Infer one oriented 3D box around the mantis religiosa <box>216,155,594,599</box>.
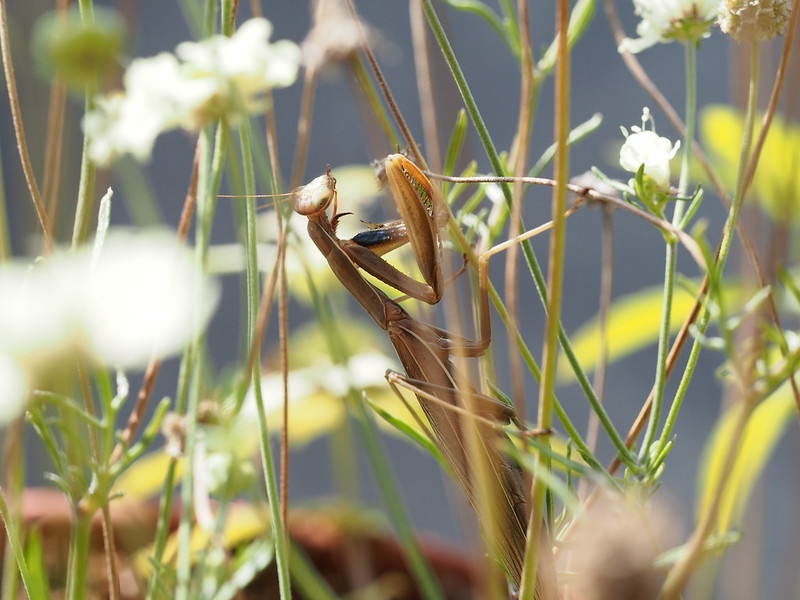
[{"bbox_3d":[0.026,0.031,0.948,0.204,0.424,0.226,-31,-10,14],"label":"mantis religiosa"}]
